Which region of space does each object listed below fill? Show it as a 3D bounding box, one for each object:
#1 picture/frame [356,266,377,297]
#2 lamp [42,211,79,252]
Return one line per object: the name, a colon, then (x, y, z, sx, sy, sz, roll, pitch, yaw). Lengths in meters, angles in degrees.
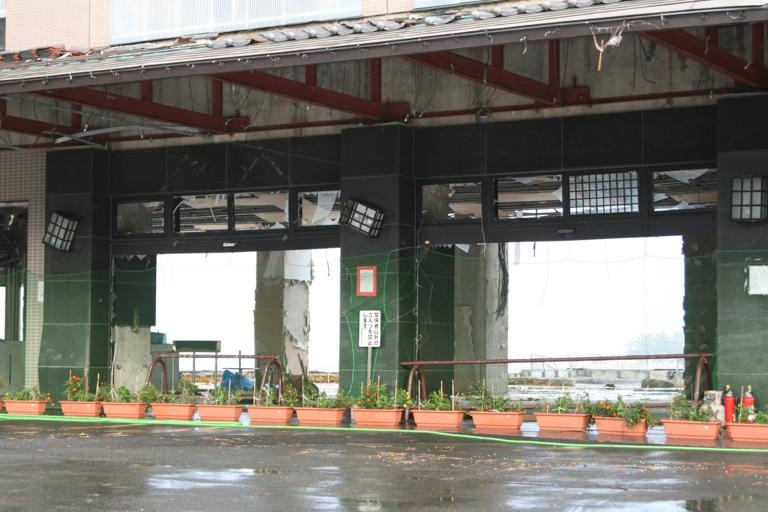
picture/frame: (-0.361, 0.552, 38.318, 0.653, 0.833, 0.064, -1, -6, 12)
lamp: (-7.146, -0.413, 40.508, 0.772, 0.733, 0.298, 14, -18, 26)
